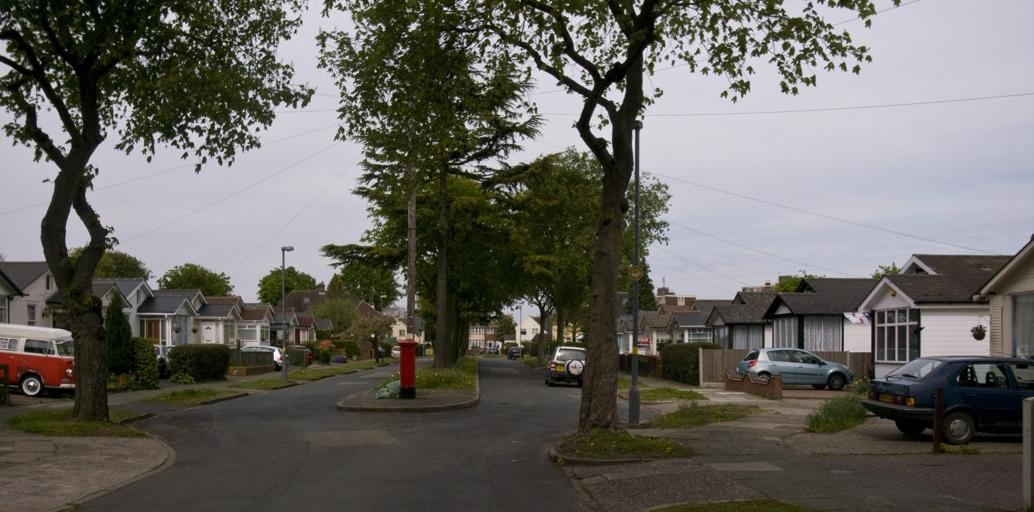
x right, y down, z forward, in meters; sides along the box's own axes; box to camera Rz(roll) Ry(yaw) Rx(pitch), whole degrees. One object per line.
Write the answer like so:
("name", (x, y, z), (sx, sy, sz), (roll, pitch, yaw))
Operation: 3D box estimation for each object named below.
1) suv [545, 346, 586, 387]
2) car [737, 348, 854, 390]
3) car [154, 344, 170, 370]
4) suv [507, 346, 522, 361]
("suv", (2.812, 6.366, 52.619), (2.208, 2.025, 1.366), (0, -9, 12))
("car", (15.871, 6.306, 50.975), (5.205, 1.835, 2.755), (0, -4, -5))
("car", (-21.734, 6.223, 54.553), (0.819, 1.602, 2.564), (5, -10, -21))
("suv", (-0.435, 12.791, 118.376), (1.499, 1.721, 4.333), (2, -9, 0))
